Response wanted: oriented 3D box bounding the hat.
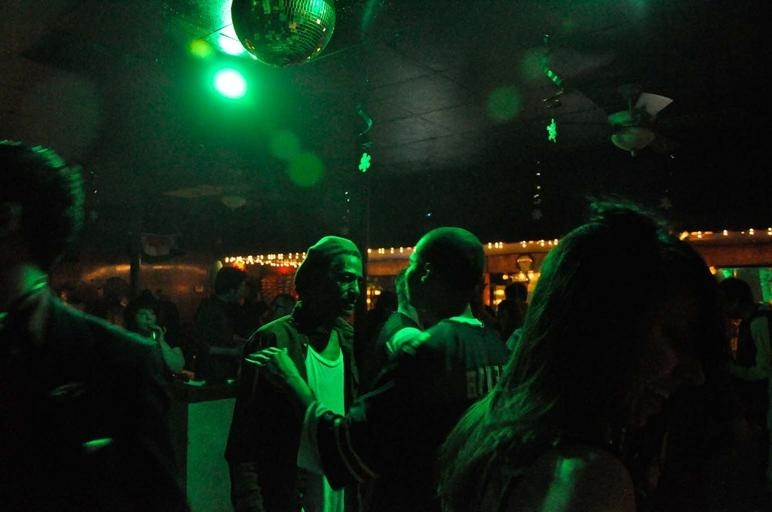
[{"bbox_3d":[-0.348,0.066,4.858,0.458,0.427,0.335,5,-6,2],"label":"hat"}]
